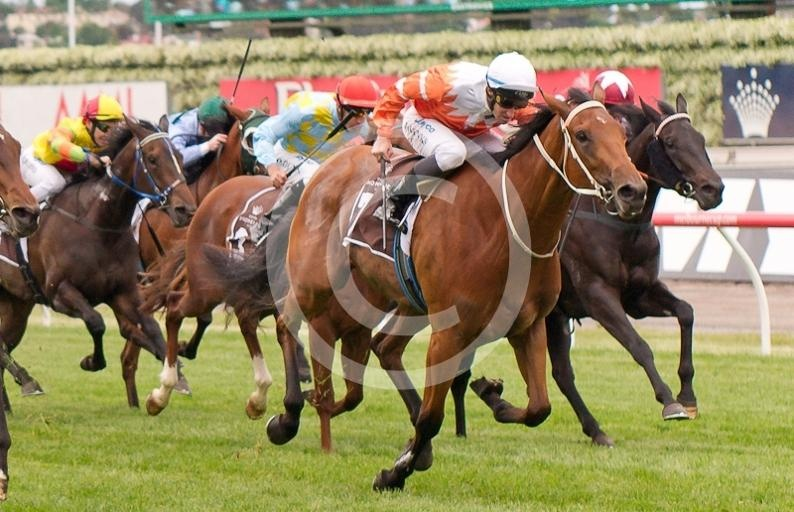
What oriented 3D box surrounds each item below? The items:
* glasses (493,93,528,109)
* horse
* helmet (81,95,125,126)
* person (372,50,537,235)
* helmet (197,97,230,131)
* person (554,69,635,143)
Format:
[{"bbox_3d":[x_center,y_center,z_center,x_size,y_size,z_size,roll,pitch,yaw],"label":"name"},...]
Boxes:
[{"bbox_3d":[0.897,-1.205,10.685,0.252,0.115,0.072,-1,10,5],"label":"glasses"},{"bbox_3d":[0.409,0.128,11.435,4.646,3.045,2.017,0,10,10],"label":"horse"},{"bbox_3d":[-2.786,-1.366,12.852,0.360,0.241,0.261,-4,4,15],"label":"helmet"},{"bbox_3d":[0.456,-1.066,10.936,1.323,1.077,0.572,-2,10,2],"label":"person"},{"bbox_3d":[-1.797,-1.400,13.106,0.255,0.338,0.343,-14,50,-15],"label":"helmet"},{"bbox_3d":[1.865,-1.321,12.216,0.820,0.469,0.569,5,10,33],"label":"person"}]
